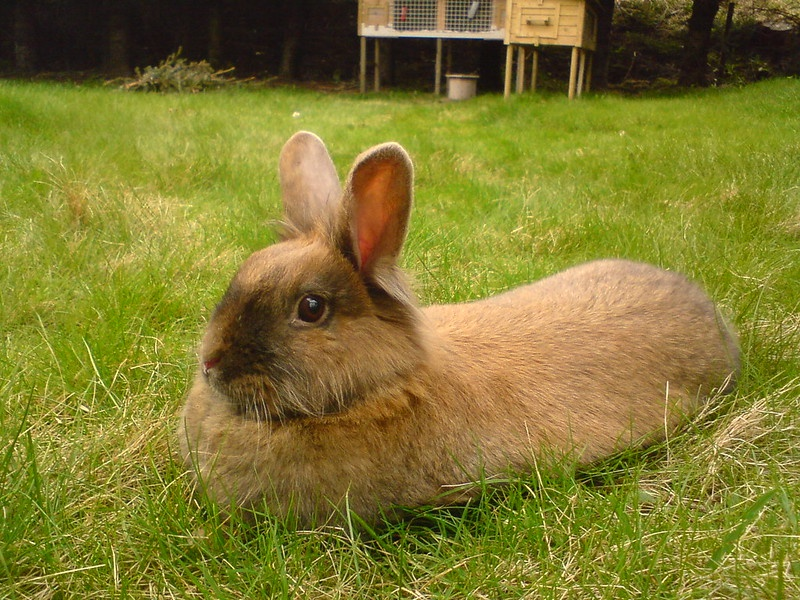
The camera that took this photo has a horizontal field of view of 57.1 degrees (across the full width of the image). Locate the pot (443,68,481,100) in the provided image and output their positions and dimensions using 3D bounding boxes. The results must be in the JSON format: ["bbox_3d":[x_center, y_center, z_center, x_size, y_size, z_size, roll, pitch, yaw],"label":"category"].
[{"bbox_3d":[1.199,-4.143,14.393,0.808,0.603,0.848,0,14,0],"label":"pot"}]
